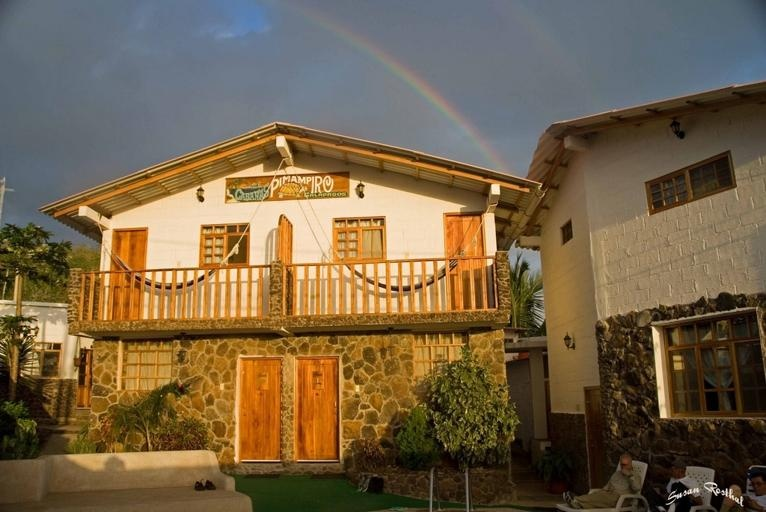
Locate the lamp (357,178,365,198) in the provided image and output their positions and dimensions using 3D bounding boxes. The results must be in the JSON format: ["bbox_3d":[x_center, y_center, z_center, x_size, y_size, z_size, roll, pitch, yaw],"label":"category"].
[{"bbox_3d":[-0.704,-2.022,17.814,0.284,0.520,0.129,2,-13,-4],"label":"lamp"}]

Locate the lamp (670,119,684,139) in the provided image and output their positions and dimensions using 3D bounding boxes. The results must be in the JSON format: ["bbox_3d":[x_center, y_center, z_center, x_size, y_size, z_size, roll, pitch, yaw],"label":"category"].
[{"bbox_3d":[7.392,-3.200,14.694,0.286,0.481,0.276,2,-8,-14],"label":"lamp"}]

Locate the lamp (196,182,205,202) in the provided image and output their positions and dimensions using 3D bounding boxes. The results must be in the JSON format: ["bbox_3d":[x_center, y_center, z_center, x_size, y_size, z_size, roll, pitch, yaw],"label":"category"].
[{"bbox_3d":[-5.734,-1.970,18.277,0.266,0.565,0.229,1,-14,3],"label":"lamp"}]

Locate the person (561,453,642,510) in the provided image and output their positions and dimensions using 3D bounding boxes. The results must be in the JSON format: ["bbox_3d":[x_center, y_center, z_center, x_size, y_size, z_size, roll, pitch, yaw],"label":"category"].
[{"bbox_3d":[5.079,5.219,13.312,1.697,1.022,0.947,-1,-13,-24],"label":"person"}]
